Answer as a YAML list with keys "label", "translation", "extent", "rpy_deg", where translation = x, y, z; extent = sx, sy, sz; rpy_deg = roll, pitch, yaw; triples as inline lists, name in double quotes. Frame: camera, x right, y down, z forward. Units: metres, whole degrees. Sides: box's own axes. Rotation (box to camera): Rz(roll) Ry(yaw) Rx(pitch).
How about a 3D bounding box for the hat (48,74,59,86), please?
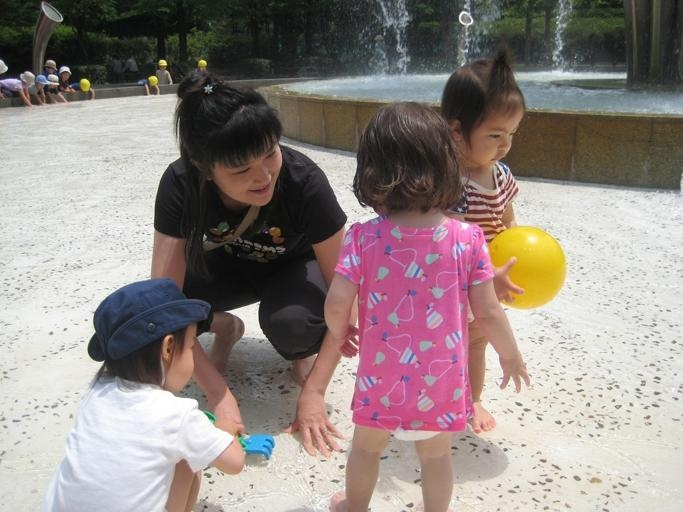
- label: "hat"
  translation: [-9.065, -5.537, 18.927]
  extent: [0.435, 0.246, 0.312]
  rpy_deg: [12, 9, 34]

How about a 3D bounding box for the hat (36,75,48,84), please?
- label: "hat"
  translation: [-9.076, -5.343, 18.238]
  extent: [0.270, 0.144, 0.260]
  rpy_deg: [6, 13, 24]

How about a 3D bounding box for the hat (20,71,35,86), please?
- label: "hat"
  translation: [-9.334, -5.362, 18.040]
  extent: [0.338, 0.231, 0.456]
  rpy_deg: [-1, -9, 32]

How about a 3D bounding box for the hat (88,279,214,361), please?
- label: "hat"
  translation: [-0.772, 0.227, 2.362]
  extent: [0.507, 0.244, 0.383]
  rpy_deg: [-19, 5, -24]
